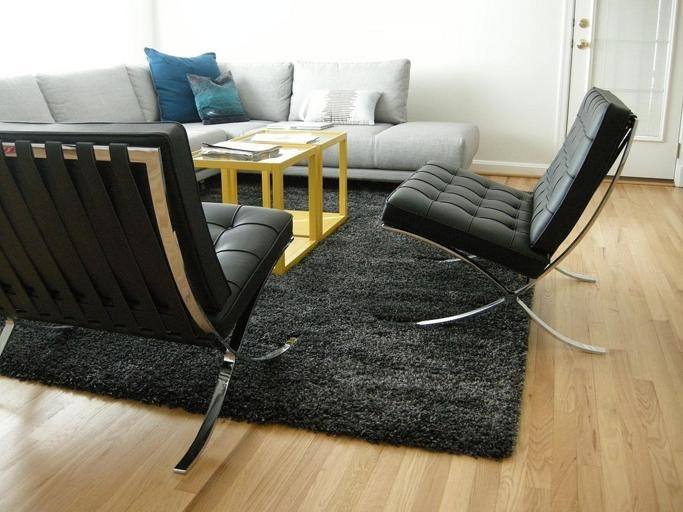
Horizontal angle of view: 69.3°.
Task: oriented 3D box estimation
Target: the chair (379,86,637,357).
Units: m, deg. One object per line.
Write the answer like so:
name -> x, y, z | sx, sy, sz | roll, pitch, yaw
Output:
chair -> 0.709, -0.253, 2.551 | 1.416, 1.198, 1.176 | 7, 27, 16

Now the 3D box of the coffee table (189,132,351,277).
coffee table -> -0.342, -0.296, 2.604 | 0.623, 0.578, 1.057 | 5, 21, 17

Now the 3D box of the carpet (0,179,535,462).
carpet -> -0.129, 0.233, 1.804 | 1.147, 0.042, 1.094 | 4, 23, 9
